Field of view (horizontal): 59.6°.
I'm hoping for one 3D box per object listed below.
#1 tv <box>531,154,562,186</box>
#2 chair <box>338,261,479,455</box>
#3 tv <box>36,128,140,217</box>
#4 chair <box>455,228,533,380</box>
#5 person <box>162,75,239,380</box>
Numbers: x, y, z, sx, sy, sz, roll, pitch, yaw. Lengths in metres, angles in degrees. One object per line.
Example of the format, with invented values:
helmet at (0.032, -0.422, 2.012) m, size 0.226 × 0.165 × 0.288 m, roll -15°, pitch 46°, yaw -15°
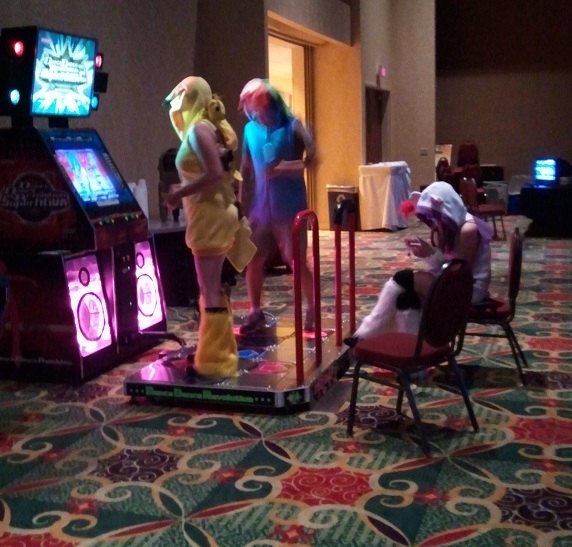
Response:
tv at (4.934, -1.907, 9.505) m, size 0.406 × 0.519 × 0.585 m, roll 1°, pitch 7°, yaw 32°
chair at (0.573, 0.340, 2.283) m, size 0.498 × 0.826 × 0.438 m, roll 3°, pitch 8°, yaw 41°
tv at (-1.265, -0.663, 3.284) m, size 0.289 × 0.617 × 0.629 m, roll 0°, pitch 6°, yaw 17°
chair at (1.247, 0.190, 3.127) m, size 0.493 × 0.810 × 0.484 m, roll 1°, pitch 1°, yaw 15°
person at (-0.439, -0.243, 2.722) m, size 0.382 × 1.654 × 0.353 m, roll -3°, pitch 6°, yaw -7°
